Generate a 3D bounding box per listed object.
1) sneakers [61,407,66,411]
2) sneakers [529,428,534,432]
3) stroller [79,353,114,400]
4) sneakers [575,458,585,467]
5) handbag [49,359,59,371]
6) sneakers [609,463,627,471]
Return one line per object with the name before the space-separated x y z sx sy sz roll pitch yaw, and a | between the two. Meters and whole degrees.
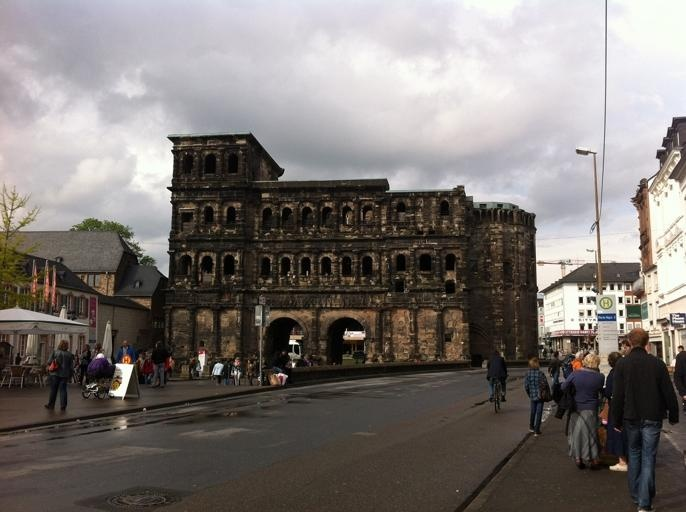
sneakers | -8.713 4.786 20.723 0.121 0.076 0.119 -1 -2 22
sneakers | 4.778 4.423 16.811 0.072 0.085 0.186 0 -15 7
stroller | -9.283 4.584 24.852 0.937 1.162 1.963 -1 -7 2
sneakers | 4.543 3.964 12.684 0.170 0.180 0.254 -5 -12 17
handbag | -9.165 3.466 21.090 0.220 0.352 0.329 3 4 8
sneakers | 5.233 4.023 12.615 0.300 0.131 0.112 -3 -11 26
